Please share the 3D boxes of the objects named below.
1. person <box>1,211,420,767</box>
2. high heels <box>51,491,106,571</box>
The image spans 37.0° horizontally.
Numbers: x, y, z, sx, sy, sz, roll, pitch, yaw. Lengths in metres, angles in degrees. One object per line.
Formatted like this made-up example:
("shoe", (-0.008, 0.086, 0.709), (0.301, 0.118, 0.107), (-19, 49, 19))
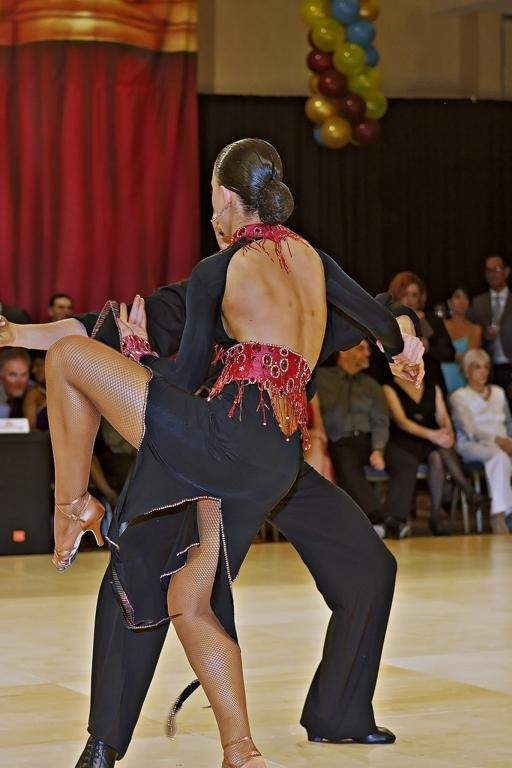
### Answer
("person", (-0.029, 0.205, 1.484), (0.503, 1.110, 0.687), (10, 8, 43))
("high heels", (-0.340, 0.272, 1.478), (0.113, 0.068, 0.196), (10, -39, -4))
